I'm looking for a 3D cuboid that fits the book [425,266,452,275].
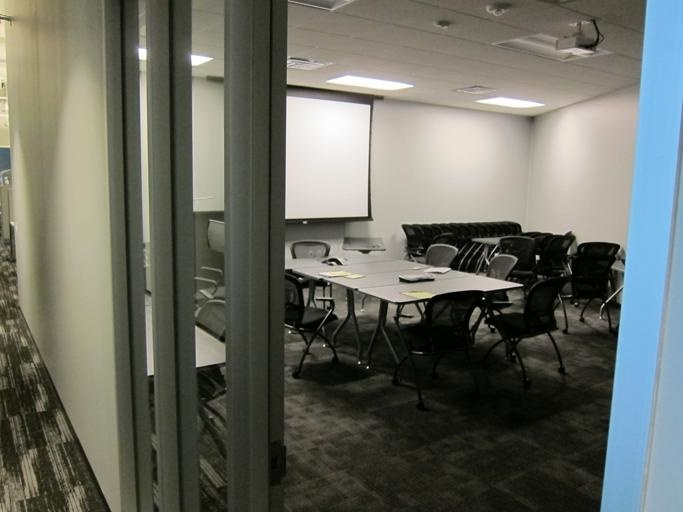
[{"bbox_3d":[0.960,0.153,5.068,0.230,0.026,0.372,3,9,18],"label":"book"}]
